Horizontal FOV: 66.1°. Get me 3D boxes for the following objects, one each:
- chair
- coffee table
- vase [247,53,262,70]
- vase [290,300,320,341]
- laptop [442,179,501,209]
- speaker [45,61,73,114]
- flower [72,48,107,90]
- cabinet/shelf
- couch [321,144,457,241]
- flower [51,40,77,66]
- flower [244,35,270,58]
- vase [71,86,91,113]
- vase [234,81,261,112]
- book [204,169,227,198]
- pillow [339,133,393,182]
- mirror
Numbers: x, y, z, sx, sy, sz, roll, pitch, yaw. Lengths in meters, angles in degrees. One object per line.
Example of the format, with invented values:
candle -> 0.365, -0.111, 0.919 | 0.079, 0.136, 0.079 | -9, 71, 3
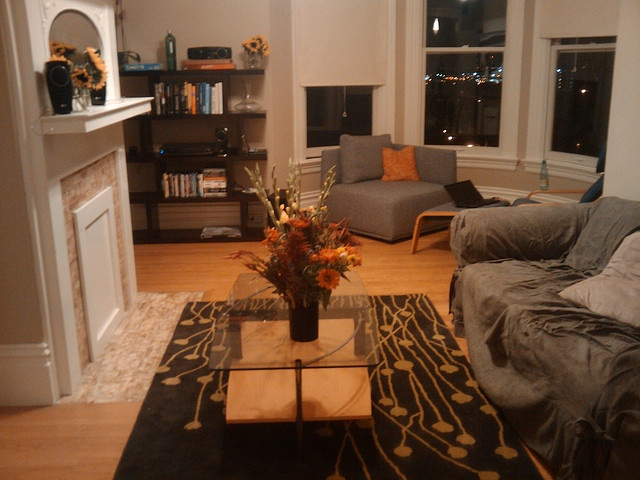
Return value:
chair -> 1.573, -0.363, 4.597 | 1.767, 1.037, 0.931 | 1, 20, 17
coffee table -> -0.114, 0.475, 2.492 | 0.739, 0.387, 0.818 | -1, 32, -1
vase -> -0.689, -1.892, 5.184 | 0.153, 0.156, 0.145 | -2, 18, -8
vase -> -0.069, 0.374, 2.216 | 0.175, 0.176, 0.166 | 1, 23, 3
laptop -> 1.421, -0.433, 4.788 | 0.551, 0.288, 0.241 | -7, -4, -30
speaker -> -1.341, -0.787, 2.537 | 0.124, 0.264, 0.184 | -11, 19, -23
flower -> -1.301, -0.972, 2.778 | 0.151, 0.232, 0.422 | -8, 17, -17
cabinet/shelf -> -1.234, -0.944, 5.084 | 2.007, 1.663, 0.587 | -2, 13, -7
couch -> 0.698, -0.606, 5.533 | 1.233, 1.144, 1.274 | -15, 21, -42
flower -> -1.387, -1.013, 2.654 | 0.066, 0.136, 0.180 | 14, 14, -1
flower -> -0.671, -2.033, 5.126 | 0.257, 0.199, 0.133 | -6, 17, -10
vase -> -1.334, -0.783, 2.736 | 0.096, 0.122, 0.213 | -11, 18, -24
vase -> -0.781, -1.557, 5.280 | 0.320, 0.333, 0.326 | -16, 27, -34
book -> -1.125, -0.608, 5.220 | 0.294, 0.281, 0.099 | 2, 6, -1
pillow -> 0.502, -0.896, 5.482 | 0.526, 0.334, 0.168 | -16, 0, -39
mirror -> -1.414, -1.178, 2.859 | 0.066, 0.271, 0.292 | 0, 29, 12
